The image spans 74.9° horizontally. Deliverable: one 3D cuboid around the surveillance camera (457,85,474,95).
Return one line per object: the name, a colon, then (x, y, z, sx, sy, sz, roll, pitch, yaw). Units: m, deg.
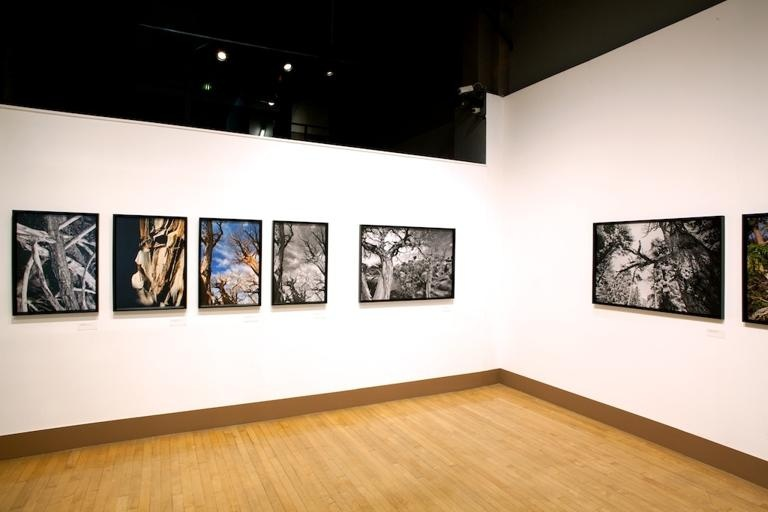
surveillance camera: (1.606, -3.247, 9.808, 0.204, 0.211, 0.207, -4, -2, -22)
